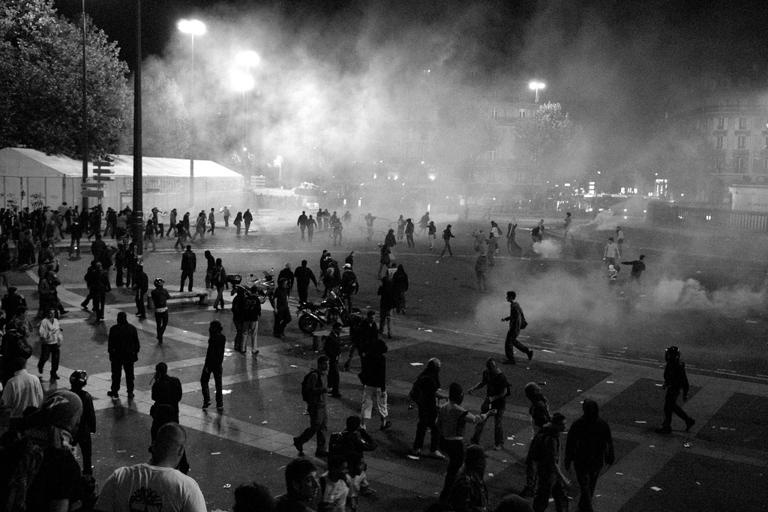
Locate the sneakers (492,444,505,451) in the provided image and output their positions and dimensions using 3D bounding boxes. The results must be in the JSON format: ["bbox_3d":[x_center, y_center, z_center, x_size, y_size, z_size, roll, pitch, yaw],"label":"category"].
[{"bbox_3d":[2.403,4.000,15.748,0.172,0.068,0.108,-7,6,3],"label":"sneakers"}]

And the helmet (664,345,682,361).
[{"bbox_3d":[6.408,2.172,16.683,0.257,0.303,0.369,4,4,26],"label":"helmet"}]

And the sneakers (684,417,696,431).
[{"bbox_3d":[6.771,3.707,16.601,0.207,0.293,0.117,21,26,26],"label":"sneakers"}]

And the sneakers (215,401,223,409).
[{"bbox_3d":[-3.758,3.372,17.109,0.141,0.135,0.140,6,10,18],"label":"sneakers"}]

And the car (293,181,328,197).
[{"bbox_3d":[-6.814,-6.175,69.066,3.111,1.269,2.625,2,3,-8],"label":"car"}]

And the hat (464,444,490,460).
[{"bbox_3d":[1.523,3.241,12.182,0.408,0.201,0.308,-5,9,-16],"label":"hat"}]

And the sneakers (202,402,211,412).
[{"bbox_3d":[-4.057,3.382,17.068,0.173,0.163,0.262,3,3,-5],"label":"sneakers"}]

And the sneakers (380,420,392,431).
[{"bbox_3d":[0.042,3.710,16.561,0.256,0.207,0.229,3,3,-4],"label":"sneakers"}]

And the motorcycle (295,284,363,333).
[{"bbox_3d":[-1.707,1.718,23.076,1.943,1.230,1.051,-16,15,-29],"label":"motorcycle"}]

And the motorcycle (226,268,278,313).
[{"bbox_3d":[-4.651,1.211,25.732,2.510,1.630,1.400,2,5,7],"label":"motorcycle"}]

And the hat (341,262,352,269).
[{"bbox_3d":[-1.361,0.330,26.953,0.310,0.158,0.439,0,-1,-1],"label":"hat"}]
